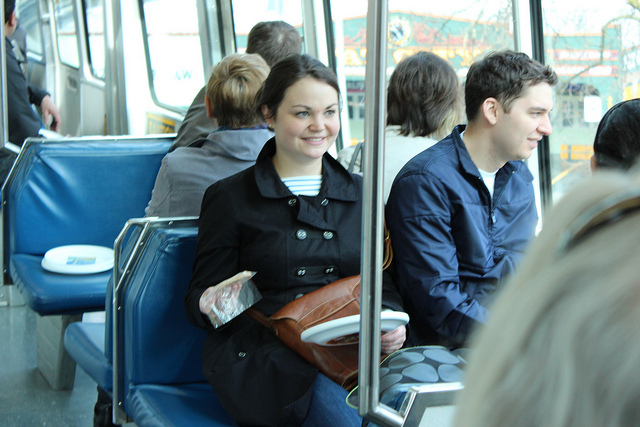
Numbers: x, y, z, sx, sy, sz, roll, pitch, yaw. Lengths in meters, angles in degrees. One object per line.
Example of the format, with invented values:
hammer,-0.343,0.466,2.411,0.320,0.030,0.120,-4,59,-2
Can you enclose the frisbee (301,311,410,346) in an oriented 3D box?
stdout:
frisbee,0.051,0.292,1.451,0.183,0.032,0.187,-17,-16,31

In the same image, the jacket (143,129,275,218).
jacket,-0.455,-0.163,2.435,0.488,0.411,0.247,0,43,-34

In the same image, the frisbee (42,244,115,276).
frisbee,-1.276,0.249,3.109,0.342,0.088,0.355,-1,10,-17

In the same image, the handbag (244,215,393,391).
handbag,0.000,0.282,1.759,0.484,0.154,0.366,32,26,20

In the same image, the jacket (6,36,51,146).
jacket,-2.063,-0.814,4.078,0.206,0.709,0.511,-4,11,-27
